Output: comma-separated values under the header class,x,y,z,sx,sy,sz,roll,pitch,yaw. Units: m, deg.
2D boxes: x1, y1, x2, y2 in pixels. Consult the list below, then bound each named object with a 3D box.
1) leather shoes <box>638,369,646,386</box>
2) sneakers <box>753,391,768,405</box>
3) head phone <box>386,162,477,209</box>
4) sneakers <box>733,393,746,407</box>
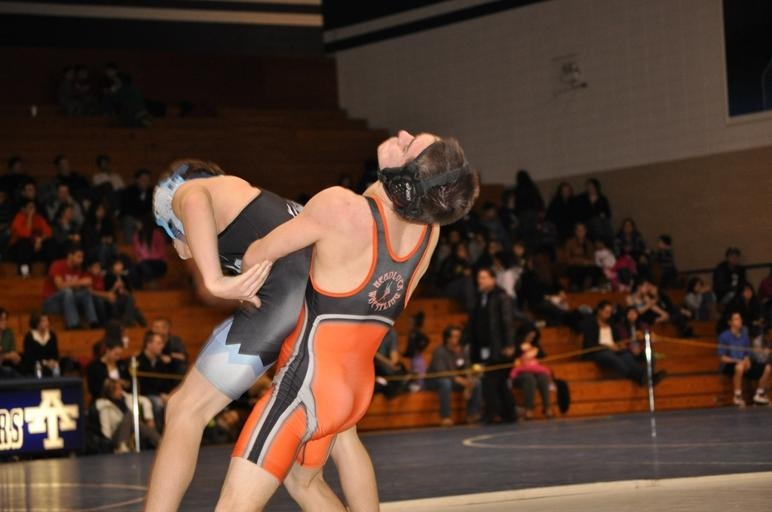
class,x,y,z,sx,sy,sz,roll,pitch,yaw
leather shoes,3.575,1.698,12.449,0.117,0.200,0.039,-1,-1,25
sneakers,5.214,1.981,12.417,0.180,0.123,0.184,3,5,40
head phone,0.252,-0.449,5.593,0.296,0.219,0.391,-24,1,-40
sneakers,4.940,2.014,12.499,0.157,0.142,0.255,-2,-2,23
